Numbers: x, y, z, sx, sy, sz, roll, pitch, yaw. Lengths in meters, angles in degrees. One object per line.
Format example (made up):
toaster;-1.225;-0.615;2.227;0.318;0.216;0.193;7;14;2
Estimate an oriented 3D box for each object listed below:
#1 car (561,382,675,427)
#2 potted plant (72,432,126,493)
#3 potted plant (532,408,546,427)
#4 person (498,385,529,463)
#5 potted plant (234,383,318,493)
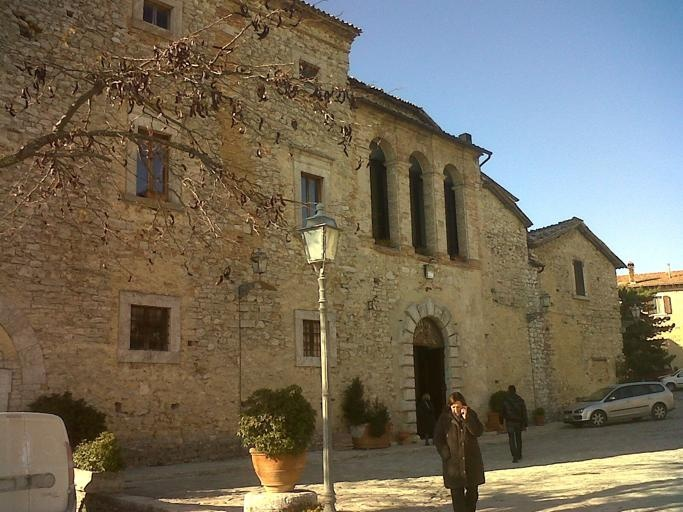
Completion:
car;9.426;5.074;24.457;3.600;1.291;1.642;2;-16;-11
potted plant;-4.235;3.617;12.517;0.836;1.021;0.518;-1;-16;-8
potted plant;6.900;5.615;24.955;0.526;0.628;0.499;11;-15;-34
person;4.237;4.066;17.430;0.584;1.834;1.260;-7;-16;12
potted plant;-0.940;3.035;12.046;1.617;2.053;1.491;-3;-21;3
